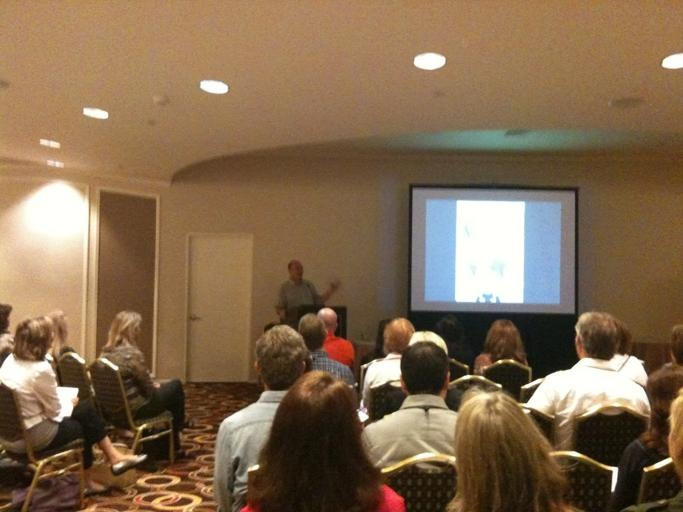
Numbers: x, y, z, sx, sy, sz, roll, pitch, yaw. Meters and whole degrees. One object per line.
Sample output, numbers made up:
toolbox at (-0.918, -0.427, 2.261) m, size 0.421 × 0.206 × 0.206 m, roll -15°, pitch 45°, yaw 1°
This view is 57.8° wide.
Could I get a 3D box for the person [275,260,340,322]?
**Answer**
person at (-0.499, 0.498, 8.642) m, size 0.761 × 1.152 × 0.367 m, roll -4°, pitch -12°, yaw -33°
